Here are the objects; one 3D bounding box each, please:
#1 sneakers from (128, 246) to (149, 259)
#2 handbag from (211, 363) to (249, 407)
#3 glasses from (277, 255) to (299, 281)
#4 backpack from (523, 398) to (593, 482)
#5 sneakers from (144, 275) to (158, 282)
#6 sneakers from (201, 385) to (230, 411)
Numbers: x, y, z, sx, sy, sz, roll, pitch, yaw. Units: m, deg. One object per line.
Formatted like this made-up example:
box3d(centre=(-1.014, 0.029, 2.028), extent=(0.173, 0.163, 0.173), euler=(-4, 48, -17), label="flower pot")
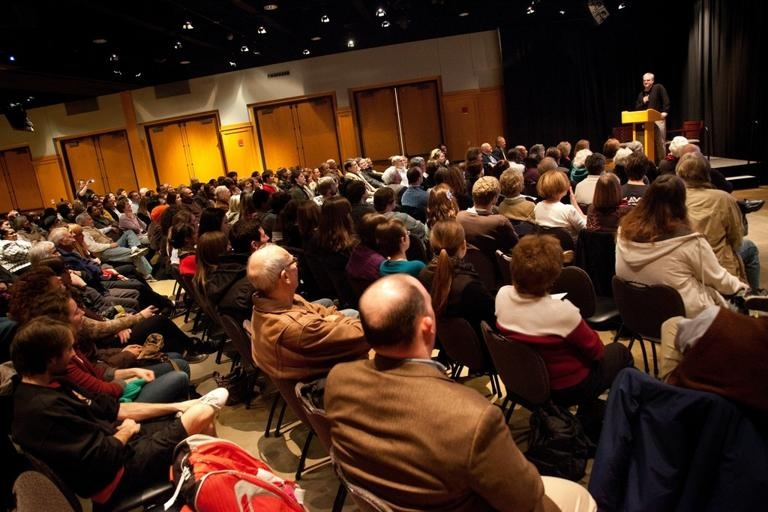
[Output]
box3d(centre=(-3.848, -0.063, 7.938), extent=(0.355, 0.168, 0.139), euler=(-2, -32, -4), label="sneakers")
box3d(centre=(-1.259, 1.140, 4.443), extent=(0.251, 0.371, 0.342), euler=(-5, -8, 37), label="handbag")
box3d(centre=(-0.621, 0.086, 3.321), extent=(0.135, 0.046, 0.143), euler=(-8, 19, -23), label="glasses")
box3d(centre=(1.068, 1.171, 3.145), extent=(0.353, 0.497, 0.227), euler=(15, 49, 14), label="backpack")
box3d(centre=(-3.838, 0.374, 8.488), extent=(0.218, 0.118, 0.078), euler=(-8, 14, -27), label="sneakers")
box3d(centre=(-1.142, 0.976, 3.522), extent=(0.158, 0.090, 0.220), euler=(11, -6, -1), label="sneakers")
